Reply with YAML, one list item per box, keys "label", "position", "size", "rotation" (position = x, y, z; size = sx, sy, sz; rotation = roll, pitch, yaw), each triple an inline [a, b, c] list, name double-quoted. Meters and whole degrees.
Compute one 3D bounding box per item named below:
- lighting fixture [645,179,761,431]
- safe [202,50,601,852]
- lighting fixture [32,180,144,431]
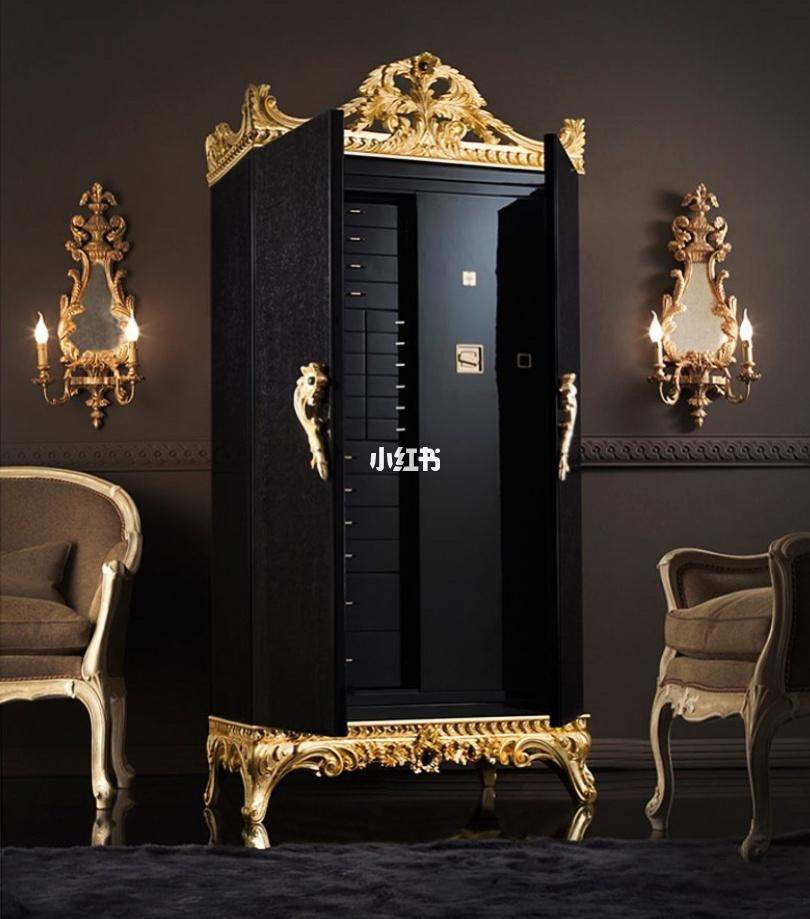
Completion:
- label: "lighting fixture"
  position: [1.001, -0.522, 4.925]
  size: [0.352, 0.823, 0.157]
  rotation: [0, 0, -9]
- label: "safe"
  position: [0.006, -0.075, 4.162]
  size: [1.140, 2.185, 0.657]
  rotation: [0, 0, -8]
- label: "lighting fixture"
  position: [-1.063, -0.515, 4.866]
  size: [0.342, 0.829, 0.175]
  rotation: [0, 0, -13]
